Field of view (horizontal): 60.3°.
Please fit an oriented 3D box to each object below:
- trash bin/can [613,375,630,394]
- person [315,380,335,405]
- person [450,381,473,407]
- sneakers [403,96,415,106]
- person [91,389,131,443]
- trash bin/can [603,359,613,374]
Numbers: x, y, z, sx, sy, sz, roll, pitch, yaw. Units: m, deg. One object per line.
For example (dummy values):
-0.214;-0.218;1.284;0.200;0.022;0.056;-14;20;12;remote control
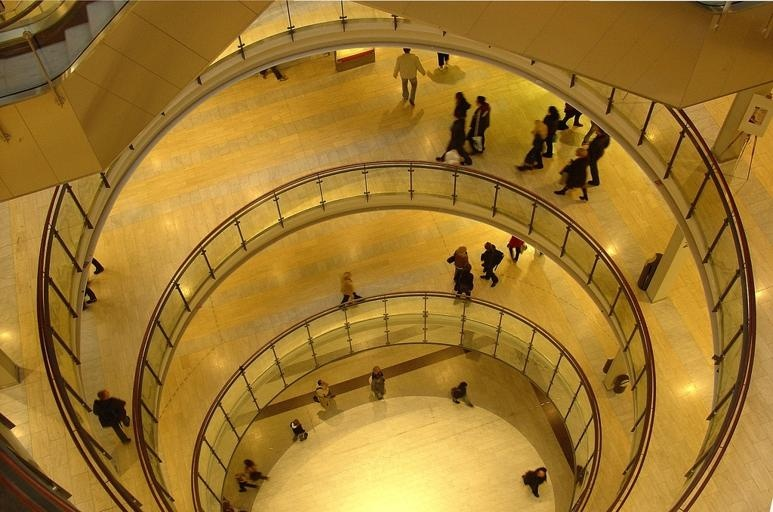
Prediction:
6.011;3.302;17.125;0.320;0.274;0.915;-12;-52;3;trash bin/can
-1.794;3.852;19.194;0.735;0.201;0.736;-7;-55;6;person
2.104;4.001;19.049;0.504;0.792;0.794;-2;-38;8;person
0.674;-4.676;20.072;0.293;0.421;0.142;6;-58;-33;sneakers
-6.154;3.549;14.992;0.684;0.569;1.617;-15;-46;-16;person
5.792;2.934;17.500;0.122;0.118;0.510;25;-31;24;trash bin/can
